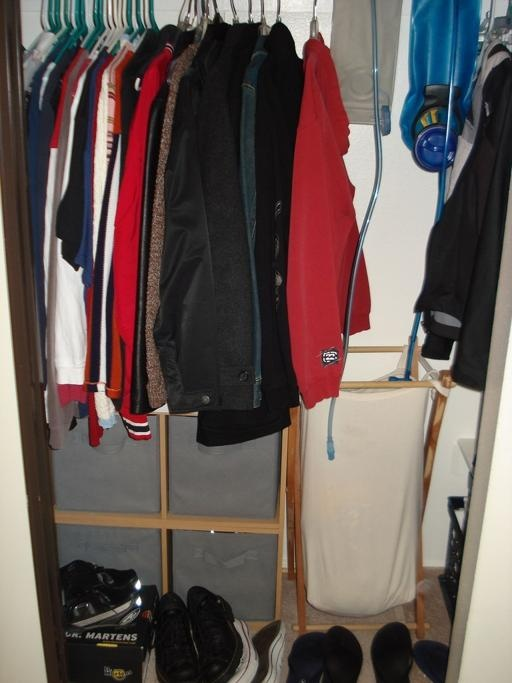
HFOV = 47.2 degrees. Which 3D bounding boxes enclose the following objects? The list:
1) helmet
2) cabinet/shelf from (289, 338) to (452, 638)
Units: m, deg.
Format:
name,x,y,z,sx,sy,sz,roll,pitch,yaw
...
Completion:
name,x,y,z,sx,sy,sz,roll,pitch,yaw
helmet,-0.423,0.704,1.691,0.253,0.149,0.161,16,-23,-7
cabinet/shelf,0.300,0.465,1.721,0.435,0.875,0.286,2,19,4
